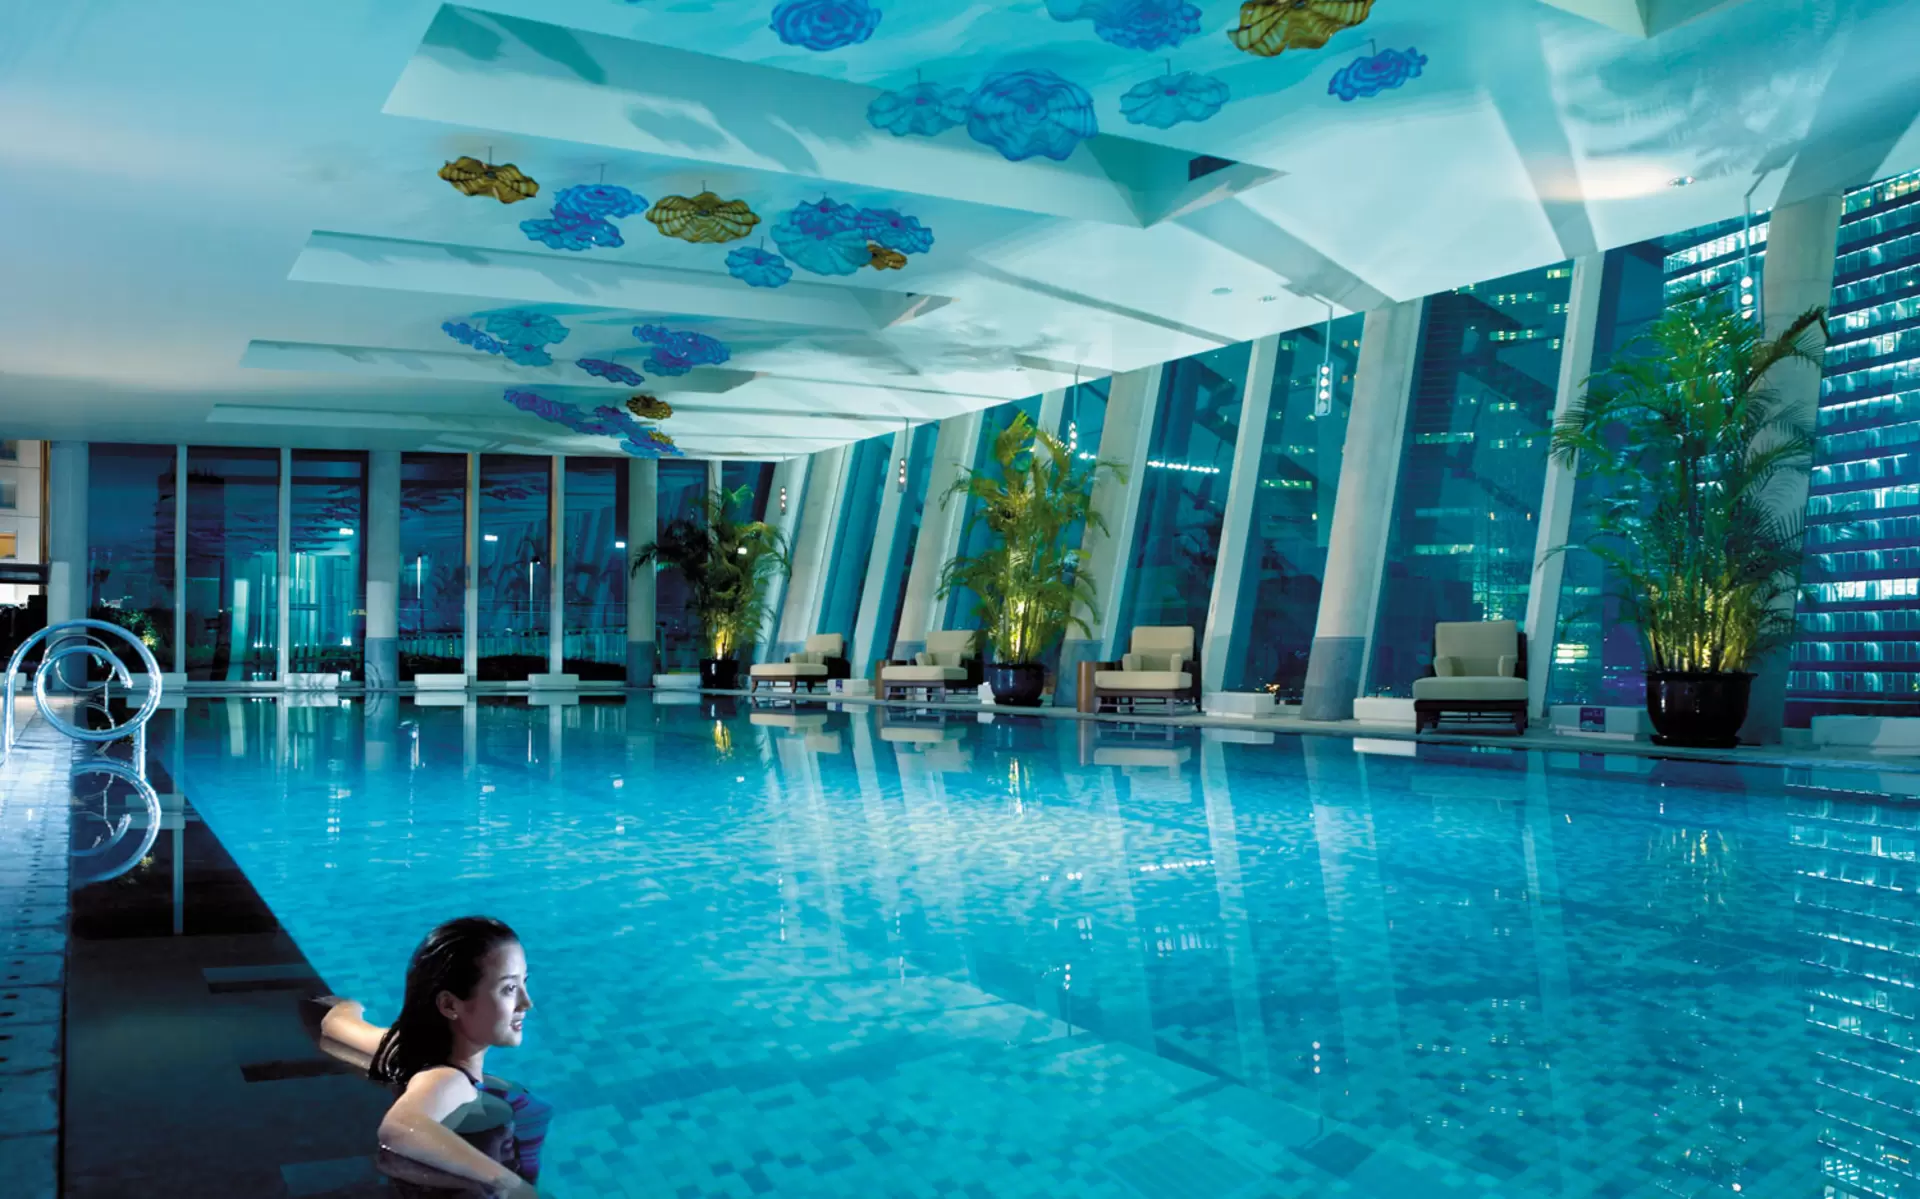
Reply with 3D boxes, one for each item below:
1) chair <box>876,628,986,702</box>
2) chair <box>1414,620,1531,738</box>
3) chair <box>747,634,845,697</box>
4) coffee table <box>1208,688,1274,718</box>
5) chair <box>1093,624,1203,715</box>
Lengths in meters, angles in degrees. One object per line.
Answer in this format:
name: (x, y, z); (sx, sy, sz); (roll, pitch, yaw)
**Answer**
chair: (-0.385, 1.151, 18.190); (1.605, 1.137, 1.481); (-4, -6, 40)
chair: (5.686, 0.853, 11.635); (1.094, 1.217, 1.124); (0, -2, 24)
chair: (-3.264, 1.417, 20.836); (1.662, 1.167, 1.607); (-4, -6, 44)
coffee table: (3.863, 1.466, 14.794); (1.070, 0.329, 0.604); (-1, -3, 31)
chair: (2.621, 1.005, 14.882); (1.727, 0.982, 1.468); (-1, 2, 8)
